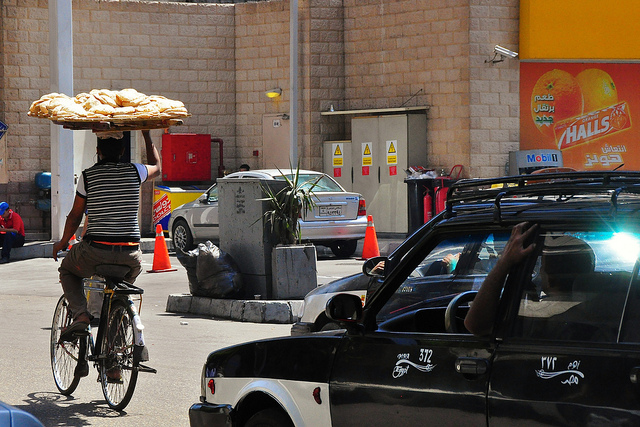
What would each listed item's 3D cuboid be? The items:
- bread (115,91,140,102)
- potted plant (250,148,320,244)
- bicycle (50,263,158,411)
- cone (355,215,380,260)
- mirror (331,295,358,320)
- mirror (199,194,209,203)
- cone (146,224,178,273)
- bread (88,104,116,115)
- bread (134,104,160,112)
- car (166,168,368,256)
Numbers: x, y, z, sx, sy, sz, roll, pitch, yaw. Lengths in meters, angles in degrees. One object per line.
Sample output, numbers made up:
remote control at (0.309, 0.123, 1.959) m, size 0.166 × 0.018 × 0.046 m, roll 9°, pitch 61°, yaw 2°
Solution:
bread at (-2.104, -1.274, 10.176) m, size 0.161 × 0.037 × 0.157 m, roll 22°, pitch 15°, yaw 32°
potted plant at (-0.435, -0.127, 13.219) m, size 0.919 × 1.275 × 1.234 m, roll 1°, pitch 5°, yaw 33°
bicycle at (-2.127, 1.224, 9.266) m, size 0.889 × 1.073 × 1.882 m, roll 3°, pitch 5°, yaw -33°
cone at (1.060, 0.501, 18.790) m, size 0.728 × 0.881 × 0.722 m, roll -2°, pitch 3°, yaw 14°
mirror at (0.178, 0.683, 6.688) m, size 0.191 × 0.158 × 0.066 m, roll 1°, pitch -2°, yaw 3°
mirror at (-2.555, -0.310, 20.611) m, size 0.217 × 0.142 × 0.075 m, roll -7°, pitch -2°, yaw 29°
cone at (-3.248, 0.691, 18.728) m, size 0.862 × 0.898 × 0.884 m, roll -2°, pitch 1°, yaw -32°
bread at (-2.295, -1.089, 9.799) m, size 0.266 × 0.110 × 0.181 m, roll -1°, pitch 5°, yaw -25°
bread at (-1.862, -1.125, 10.003) m, size 0.244 × 0.087 × 0.130 m, roll -3°, pitch 7°, yaw -43°
car at (-1.164, -0.027, 19.876) m, size 4.153 × 1.274 × 1.893 m, roll 4°, pitch 3°, yaw 39°
